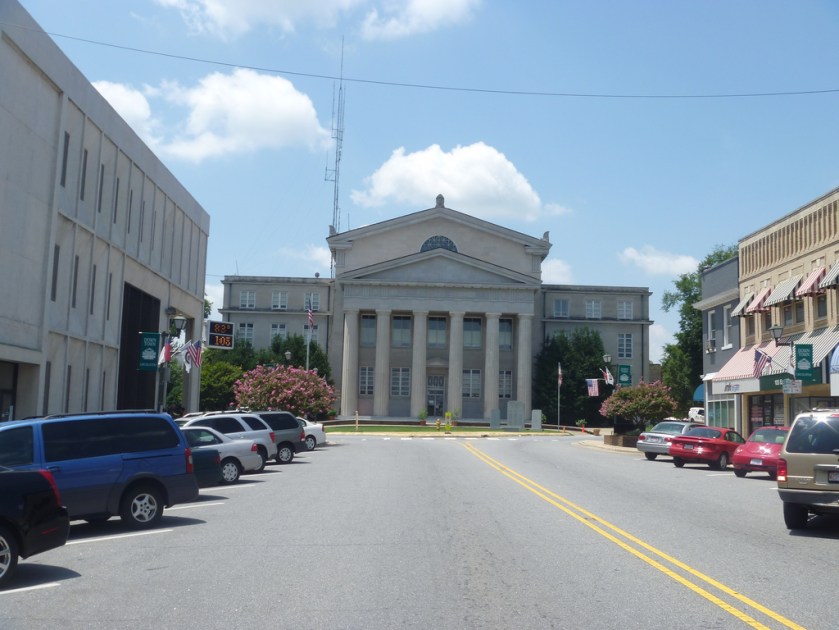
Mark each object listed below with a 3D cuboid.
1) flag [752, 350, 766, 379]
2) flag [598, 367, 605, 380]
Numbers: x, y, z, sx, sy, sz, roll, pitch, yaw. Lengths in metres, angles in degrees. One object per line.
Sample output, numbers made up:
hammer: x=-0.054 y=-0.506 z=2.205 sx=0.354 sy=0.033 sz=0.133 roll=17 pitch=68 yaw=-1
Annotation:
flag: x=16.538 y=2.196 z=37.499 sx=0.448 sy=1.246 sz=1.064 roll=0 pitch=-10 yaw=2
flag: x=17.406 y=5.436 z=74.072 sx=0.244 sy=1.124 sz=1.019 roll=6 pitch=3 yaw=-7
